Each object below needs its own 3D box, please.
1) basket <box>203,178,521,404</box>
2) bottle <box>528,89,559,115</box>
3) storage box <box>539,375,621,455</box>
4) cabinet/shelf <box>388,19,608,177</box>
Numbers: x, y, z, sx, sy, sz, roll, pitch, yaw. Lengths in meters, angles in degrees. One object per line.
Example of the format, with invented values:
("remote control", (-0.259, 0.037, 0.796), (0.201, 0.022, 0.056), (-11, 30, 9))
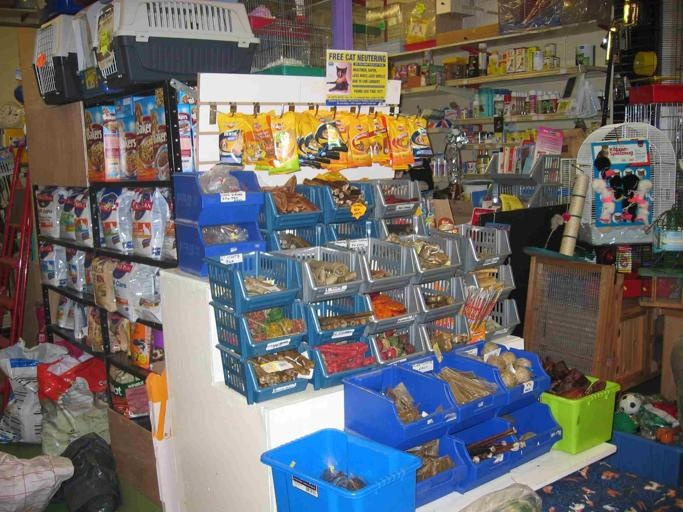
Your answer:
("basket", (-0.118, 0.274, 2.501), (0.969, 0.617, 0.452), (-9, 15, -22))
("bottle", (2.736, -2.073, 6.920), (0.271, 0.327, 0.461), (-9, 14, -21))
("storage box", (1.281, 0.810, 2.752), (0.382, 0.214, 0.254), (-11, 6, -23))
("cabinet/shelf", (2.049, -1.985, 6.393), (0.587, 1.537, 3.306), (-7, 10, -42))
